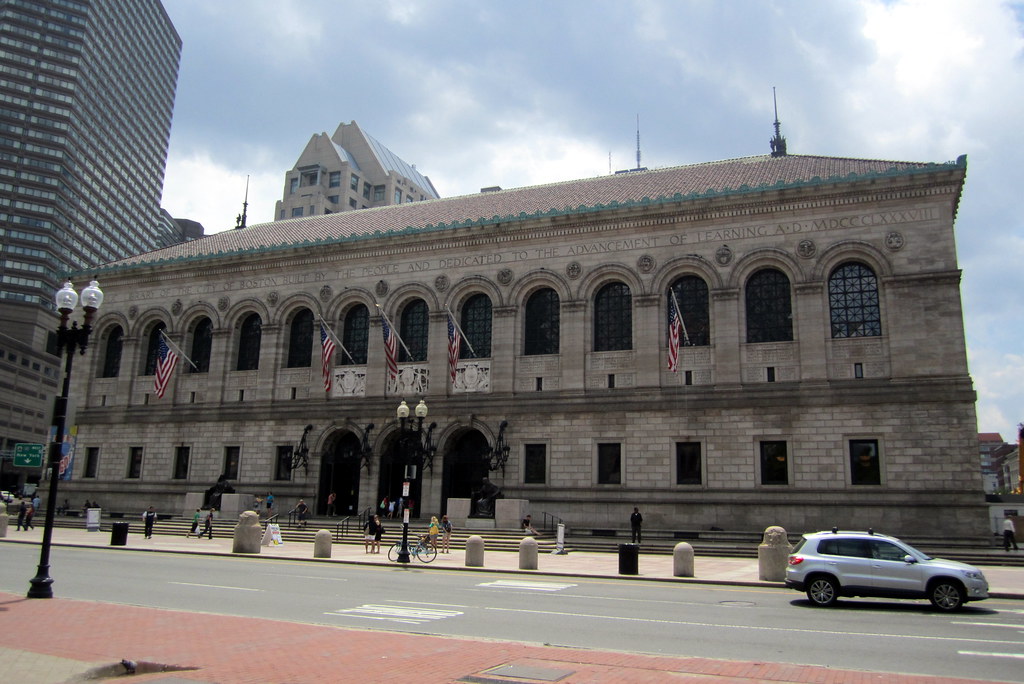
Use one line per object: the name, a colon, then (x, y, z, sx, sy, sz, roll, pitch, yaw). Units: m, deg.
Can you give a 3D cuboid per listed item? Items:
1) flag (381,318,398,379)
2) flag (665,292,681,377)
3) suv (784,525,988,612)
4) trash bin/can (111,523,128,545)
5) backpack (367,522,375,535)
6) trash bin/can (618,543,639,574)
flag: (-7.562, 0.571, 49.061, 1.069, 3.095, 4.328, 4, -15, -8)
flag: (9.070, -0.900, 44.013, 0.830, 5.123, 2.844, -1, -16, 12)
suv: (12.198, 7.457, 26.195, 5.798, 2.182, 2.625, -4, -12, 17)
trash bin/can: (-19.882, 9.744, 39.856, 0.705, 1.143, 1.158, 9, -17, -24)
backpack: (-7.094, 9.297, 39.533, 0.299, 0.678, 0.709, 9, -17, -25)
trash bin/can: (4.592, 8.966, 32.469, 1.135, 1.188, 1.138, -9, -15, 35)
